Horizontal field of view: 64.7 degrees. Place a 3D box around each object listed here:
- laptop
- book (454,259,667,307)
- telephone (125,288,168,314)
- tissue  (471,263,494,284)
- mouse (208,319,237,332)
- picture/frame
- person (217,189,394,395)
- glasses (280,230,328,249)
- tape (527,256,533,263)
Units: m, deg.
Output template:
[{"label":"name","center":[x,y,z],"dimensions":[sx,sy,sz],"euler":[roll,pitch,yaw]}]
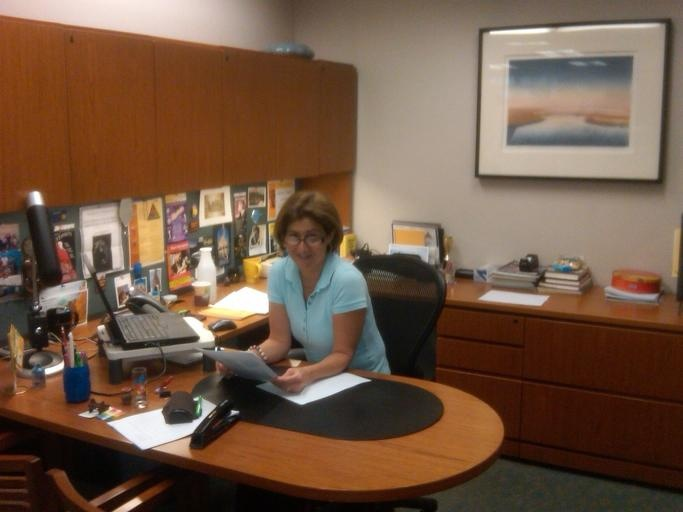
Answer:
[{"label":"laptop","center":[-0.809,0.211,2.155],"dimensions":[0.393,0.314,0.371],"euler":[-1,16,-27]},{"label":"book","center":[1.348,0.141,3.155],"dimensions":[1.096,0.229,0.482],"euler":[11,14,29]},{"label":"telephone","center":[-0.863,0.205,2.390],"dimensions":[0.146,0.063,0.109],"euler":[15,11,0]},{"label":"tissue ","center":[0.886,0.111,3.420],"dimensions":[0.112,0.114,0.031],"euler":[10,4,43]},{"label":"mouse","center":[-0.544,0.308,2.450],"dimensions":[0.049,0.031,0.088],"euler":[5,7,37]},{"label":"picture/frame","center":[1.355,-0.923,3.247],"dimensions":[1.049,0.975,0.051],"euler":[3,-6,13]},{"label":"person","center":[-0.066,0.102,2.392],"dimensions":[0.554,0.910,0.800],"euler":[3,5,38]},{"label":"glasses","center":[-0.141,-0.071,2.201],"dimensions":[0.172,0.084,0.062],"euler":[-1,11,-2]},{"label":"tape","center":[1.144,0.020,3.288],"dimensions":[0.034,0.016,0.060],"euler":[-8,24,21]}]
